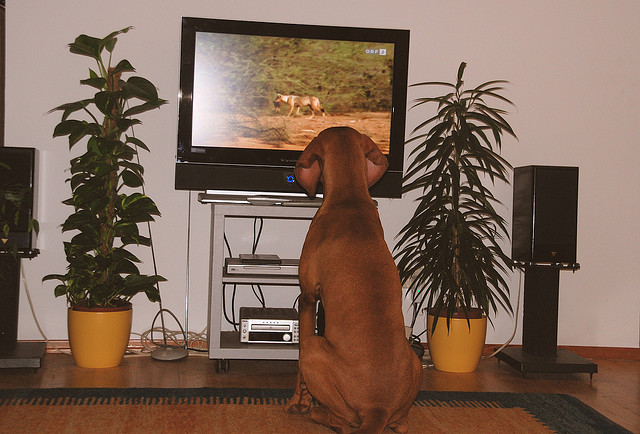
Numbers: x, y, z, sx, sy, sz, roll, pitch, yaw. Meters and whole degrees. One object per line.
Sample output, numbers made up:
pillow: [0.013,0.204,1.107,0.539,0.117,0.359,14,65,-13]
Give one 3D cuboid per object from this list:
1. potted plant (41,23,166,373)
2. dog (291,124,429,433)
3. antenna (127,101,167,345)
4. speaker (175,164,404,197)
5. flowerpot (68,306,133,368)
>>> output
potted plant: [-1.467,-0.148,4.326,0.784,2.240,0.836,0,11,-15]
dog: [0.164,0.335,3.330,0.592,1.576,0.709,-2,11,-20]
antenna: [-1.244,0.057,4.556,0.253,1.744,0.544,-1,11,-17]
speaker: [-0.222,-0.261,4.556,1.646,0.183,0.167,2,10,-2]
flowerpot: [-1.474,0.784,4.254,0.346,0.438,0.310,-1,8,-42]
